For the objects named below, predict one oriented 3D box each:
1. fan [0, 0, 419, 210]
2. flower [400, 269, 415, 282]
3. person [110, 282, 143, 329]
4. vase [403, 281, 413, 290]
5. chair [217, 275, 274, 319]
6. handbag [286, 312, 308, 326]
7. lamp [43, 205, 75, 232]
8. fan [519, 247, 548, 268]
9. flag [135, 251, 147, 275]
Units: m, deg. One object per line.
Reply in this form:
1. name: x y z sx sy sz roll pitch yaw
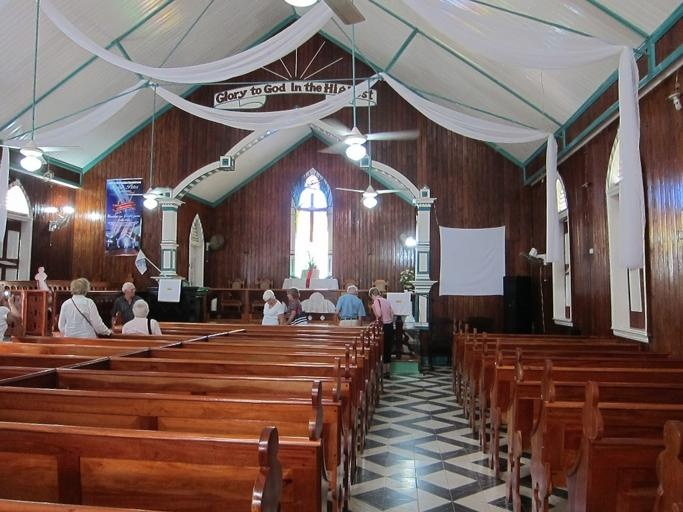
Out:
1. fan: -2.695 -3.029 11.091 3.431 1.043 4.031 -15 -16 18
2. flower: 1.429 0.438 12.404 0.272 0.259 0.399 0 2 10
3. person: -3.118 0.937 8.310 0.488 1.116 0.240 -4 23 -28
4. vase: 1.432 0.648 12.236 0.215 0.212 0.294 0 2 7
5. chair: -2.194 0.983 13.096 0.860 0.668 0.340 1 2 16
6. handbag: -0.673 1.000 8.929 0.176 0.141 0.240 -6 -9 9
7. lamp: -6.400 -0.909 12.974 0.577 0.632 0.260 -1 5 -36
8. fan: 3.850 0.040 11.351 0.392 0.373 1.308 0 2 14
9. flag: -4.520 0.149 12.771 0.310 0.547 0.191 1 2 19
